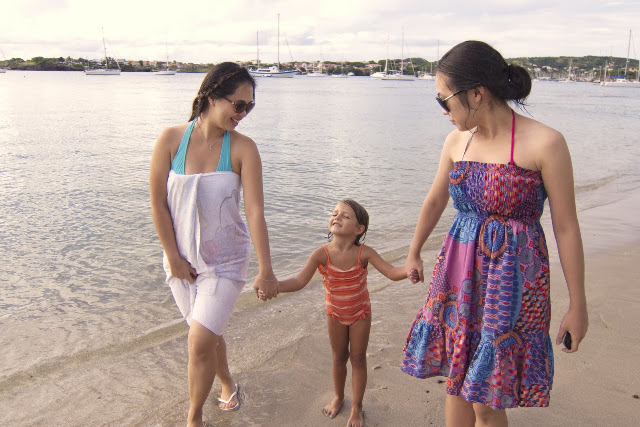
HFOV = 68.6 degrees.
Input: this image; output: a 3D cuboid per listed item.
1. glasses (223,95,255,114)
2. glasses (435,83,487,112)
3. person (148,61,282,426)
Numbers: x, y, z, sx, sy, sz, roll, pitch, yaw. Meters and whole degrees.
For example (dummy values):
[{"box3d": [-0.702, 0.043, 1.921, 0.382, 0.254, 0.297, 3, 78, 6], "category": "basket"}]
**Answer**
[{"box3d": [-0.640, -0.885, 3.852, 0.161, 0.055, 0.156, -11, 48, -48], "category": "glasses"}, {"box3d": [0.979, -0.826, 3.337, 0.211, 0.070, 0.197, -22, -2, 4], "category": "glasses"}, {"box3d": [-0.886, 0.249, 3.952, 0.917, 2.935, 0.875, -8, 18, -18], "category": "person"}]
